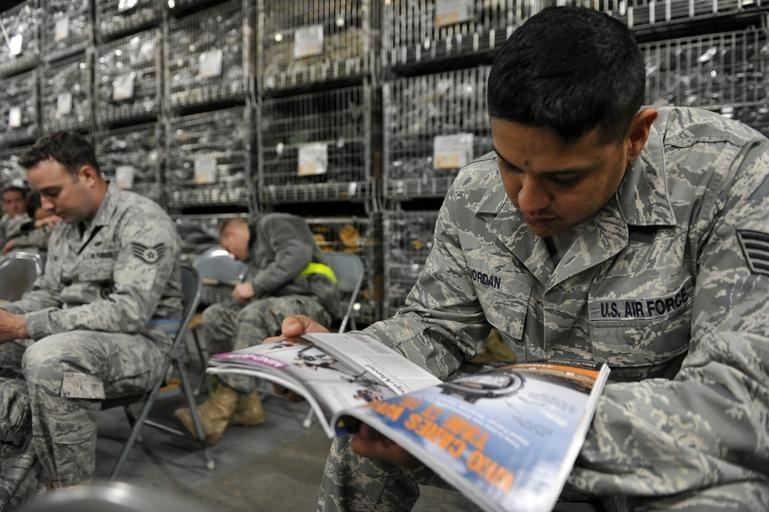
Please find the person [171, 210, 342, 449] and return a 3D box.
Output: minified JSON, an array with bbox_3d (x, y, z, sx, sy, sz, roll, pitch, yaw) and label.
[{"bbox_3d":[-0.884,0.385,3.633,0.741,1.156,1.080,-5,10,37],"label":"person"}]
